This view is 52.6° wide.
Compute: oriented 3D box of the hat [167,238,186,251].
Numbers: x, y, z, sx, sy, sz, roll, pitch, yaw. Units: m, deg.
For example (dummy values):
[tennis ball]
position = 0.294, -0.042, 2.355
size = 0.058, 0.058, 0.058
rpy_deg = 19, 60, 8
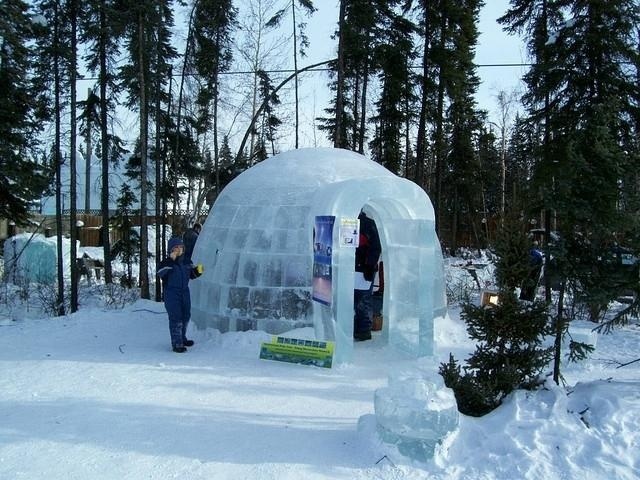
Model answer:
[hat]
position = -3.117, 0.067, 13.920
size = 0.291, 0.255, 0.223
rpy_deg = -21, -9, 28
